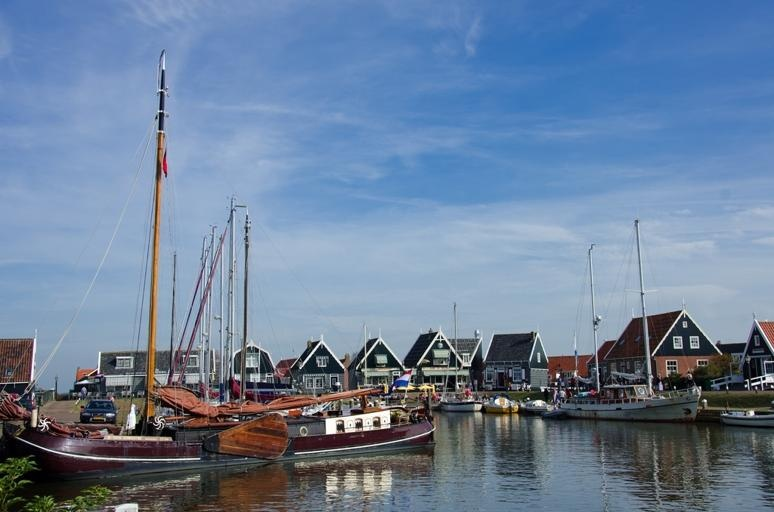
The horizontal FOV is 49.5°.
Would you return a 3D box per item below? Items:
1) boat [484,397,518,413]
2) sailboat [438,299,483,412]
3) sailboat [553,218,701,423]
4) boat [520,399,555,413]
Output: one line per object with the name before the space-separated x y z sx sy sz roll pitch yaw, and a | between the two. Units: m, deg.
boat | 13.014 17.138 97.092 4.095 1.894 1.593 -12 -18 38
sailboat | 9.786 16.119 113.334 6.609 17.842 4.232 -9 -34 27
sailboat | 22.708 9.829 82.484 4.492 13.155 17.872 6 -15 -25
boat | 16.300 16.635 93.005 1.285 1.235 4.028 1 -11 -20
